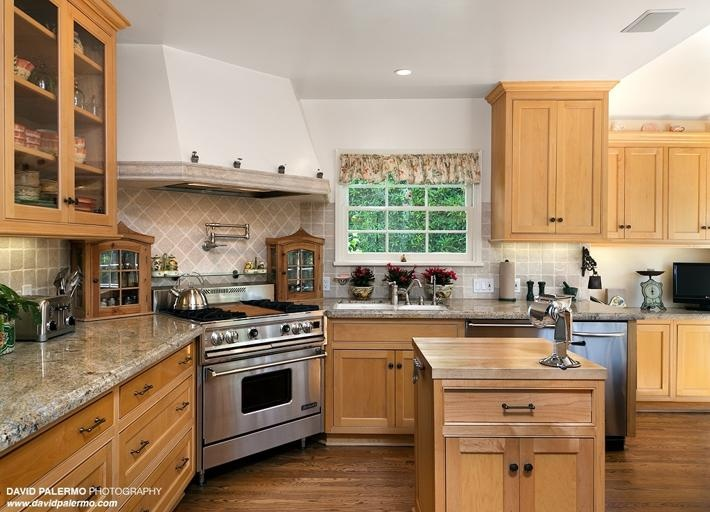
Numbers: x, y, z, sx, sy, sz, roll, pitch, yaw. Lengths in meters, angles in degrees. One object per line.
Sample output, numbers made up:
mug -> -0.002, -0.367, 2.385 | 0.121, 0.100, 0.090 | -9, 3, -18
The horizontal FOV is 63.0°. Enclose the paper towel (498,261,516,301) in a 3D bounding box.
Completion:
paper towel -> 1.425, 0.222, 5.409 | 0.167, 0.348, 0.260 | 2, 11, 13

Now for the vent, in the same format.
vent -> -1.003, -1.048, 4.803 | 0.681, 1.022, 2.257 | 8, 7, 36

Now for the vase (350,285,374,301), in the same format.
vase -> 0.065, 0.329, 5.399 | 0.166, 0.094, 0.170 | 0, 0, 42

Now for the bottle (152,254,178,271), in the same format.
bottle -> -1.522, 0.073, 4.629 | 0.199, 0.127, 0.121 | 2, -4, -43

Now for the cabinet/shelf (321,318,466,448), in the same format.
cabinet/shelf -> 0.272, 0.873, 4.224 | 1.150, 0.884, 0.417 | 0, -7, 1

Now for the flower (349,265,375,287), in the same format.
flower -> 0.069, 0.180, 5.430 | 0.202, 0.131, 0.194 | -1, 0, -1

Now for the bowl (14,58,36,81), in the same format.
bowl -> -1.835, -1.036, 3.236 | 0.093, 0.066, 0.091 | 2, -17, 1

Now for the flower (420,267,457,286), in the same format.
flower -> 0.804, 0.183, 5.353 | 0.218, 0.137, 0.215 | 1, 0, 36

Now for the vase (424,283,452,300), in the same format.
vase -> 0.783, 0.323, 5.364 | 0.187, 0.096, 0.176 | 0, -6, 3

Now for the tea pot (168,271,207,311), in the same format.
tea pot -> -1.299, 0.260, 4.490 | 0.312, 0.246, 0.232 | 1, 15, -20

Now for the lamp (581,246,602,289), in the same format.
lamp -> 2.233, 0.113, 5.484 | 0.190, 0.410, 0.371 | 4, 12, 21

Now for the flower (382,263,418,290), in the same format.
flower -> 0.424, 0.185, 5.406 | 0.266, 0.159, 0.233 | 1, 1, -23

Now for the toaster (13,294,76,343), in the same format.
toaster -> -1.958, 0.380, 3.627 | 0.268, 0.230, 0.400 | 2, 0, -2

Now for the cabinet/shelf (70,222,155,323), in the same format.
cabinet/shelf -> -1.743, 0.125, 4.100 | 0.319, 0.857, 0.749 | -2, -3, 33
